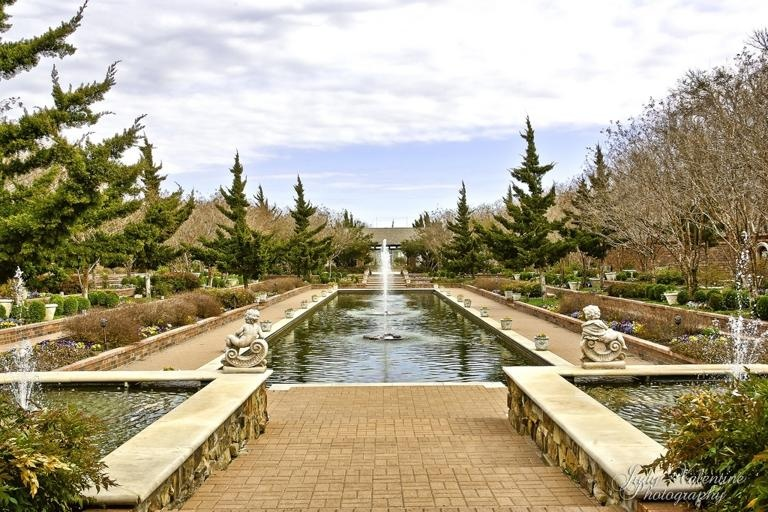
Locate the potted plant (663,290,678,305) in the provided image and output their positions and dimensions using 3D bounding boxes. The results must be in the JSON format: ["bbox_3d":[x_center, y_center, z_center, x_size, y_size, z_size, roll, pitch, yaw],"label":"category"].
[{"bbox_3d":[12.596,1.831,23.924,0.612,0.437,0.599,0,-4,1],"label":"potted plant"}]

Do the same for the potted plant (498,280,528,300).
[{"bbox_3d":[7.698,2.001,31.919,1.443,0.757,1.387,1,-4,-4],"label":"potted plant"}]

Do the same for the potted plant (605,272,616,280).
[{"bbox_3d":[17.434,1.571,41.743,0.726,0.509,0.711,1,1,1],"label":"potted plant"}]

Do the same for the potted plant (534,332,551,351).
[{"bbox_3d":[4.706,2.485,15.774,0.547,0.575,0.531,0,-6,1],"label":"potted plant"}]

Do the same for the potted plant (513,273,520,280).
[{"bbox_3d":[11.331,1.775,46.462,0.514,0.650,0.908,1,-1,6],"label":"potted plant"}]

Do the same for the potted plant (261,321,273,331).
[{"bbox_3d":[-4.339,2.605,20.139,0.354,0.386,0.322,0,-5,-15],"label":"potted plant"}]

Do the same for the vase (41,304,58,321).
[{"bbox_3d":[-13.267,2.236,21.715,0.640,0.466,0.625,1,-5,-8],"label":"vase"}]

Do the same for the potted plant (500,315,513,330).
[{"bbox_3d":[4.446,2.440,19.640,0.496,0.363,0.486,0,-7,0],"label":"potted plant"}]

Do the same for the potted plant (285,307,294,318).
[{"bbox_3d":[-4.129,2.520,23.802,0.361,0.328,0.351,1,-3,-3],"label":"potted plant"}]

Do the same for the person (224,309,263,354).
[{"bbox_3d":[-3.008,1.684,12.154,1.052,1.180,0.793,-9,-13,35],"label":"person"}]
